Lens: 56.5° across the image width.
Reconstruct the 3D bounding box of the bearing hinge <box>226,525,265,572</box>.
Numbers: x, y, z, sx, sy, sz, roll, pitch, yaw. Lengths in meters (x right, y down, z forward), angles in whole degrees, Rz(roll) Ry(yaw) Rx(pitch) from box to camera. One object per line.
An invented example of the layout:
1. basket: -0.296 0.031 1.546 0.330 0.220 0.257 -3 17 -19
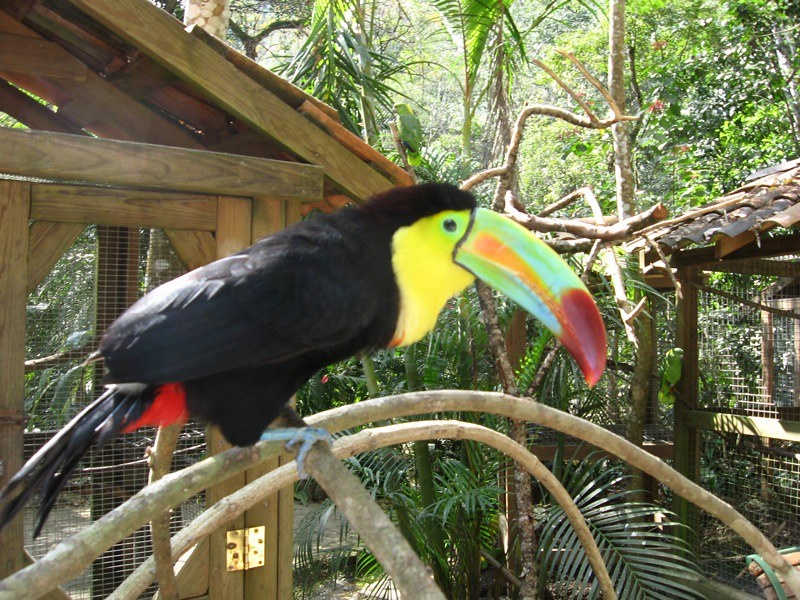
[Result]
1. bearing hinge: -0.879 1.423 4.267 0.252 0.226 0.073 1 3 -25
